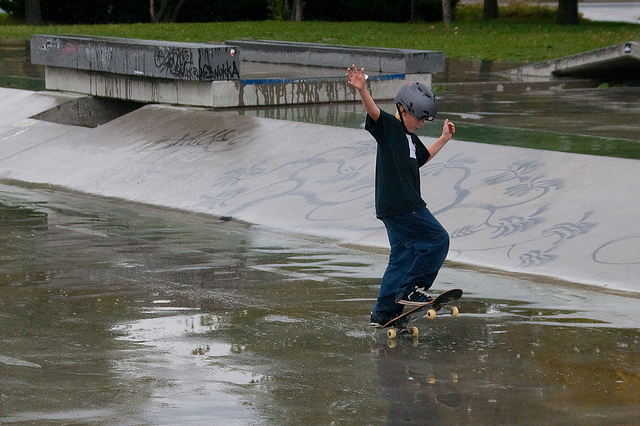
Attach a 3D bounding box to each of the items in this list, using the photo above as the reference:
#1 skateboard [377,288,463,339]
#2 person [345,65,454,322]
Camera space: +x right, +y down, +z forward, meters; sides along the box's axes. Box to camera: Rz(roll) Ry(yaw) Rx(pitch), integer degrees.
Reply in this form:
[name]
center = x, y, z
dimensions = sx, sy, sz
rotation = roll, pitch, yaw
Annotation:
[skateboard]
center = 1.398, 1.359, 16.407
dimensions = 1.594, 0.240, 0.461
rotation = -24, -34, 33
[person]
center = 1.070, -0.241, 16.452
dimensions = 1.263, 3.426, 1.022
rotation = -1, 14, 0
